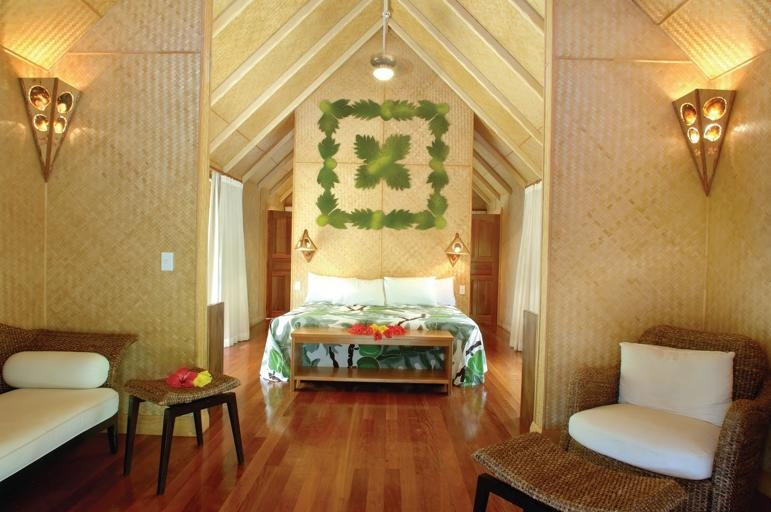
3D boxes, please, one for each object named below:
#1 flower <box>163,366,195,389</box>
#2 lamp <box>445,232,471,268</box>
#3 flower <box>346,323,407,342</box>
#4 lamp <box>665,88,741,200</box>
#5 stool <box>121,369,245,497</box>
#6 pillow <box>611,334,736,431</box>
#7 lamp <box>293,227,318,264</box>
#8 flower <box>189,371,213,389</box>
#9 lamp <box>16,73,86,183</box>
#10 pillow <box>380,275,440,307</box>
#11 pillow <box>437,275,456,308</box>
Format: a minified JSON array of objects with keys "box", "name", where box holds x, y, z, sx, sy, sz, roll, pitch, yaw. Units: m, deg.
[{"box":[-1.558,0.936,4.269,0.160,0.074,0.156,-6,24,-36],"name":"flower"},{"box":[0.923,-0.061,7.211,0.354,0.446,0.089,4,14,-18],"name":"lamp"},{"box":[-0.080,0.782,5.745,0.616,0.173,0.213,-3,-6,3],"name":"flower"},{"box":[2.589,-0.914,4.459,0.272,0.789,0.372,1,-6,-28],"name":"lamp"},{"box":[-1.573,1.320,4.373,0.531,0.665,0.800,4,2,34],"name":"stool"},{"box":[2.161,0.911,4.190,0.764,0.509,0.282,7,13,25],"name":"pillow"},{"box":[-1.046,-0.134,7.249,0.276,0.395,0.194,-3,1,-41],"name":"lamp"},{"box":[-1.421,0.951,4.298,0.108,0.031,0.105,24,22,35],"name":"flower"},{"box":[-2.767,-1.054,4.613,0.390,0.791,0.275,-3,-6,12],"name":"lamp"},{"box":[0.318,0.447,6.982,0.669,0.380,0.268,-3,-6,4],"name":"pillow"},{"box":[0.778,0.462,7.064,0.354,0.391,0.154,0,-25,-8],"name":"pillow"}]
